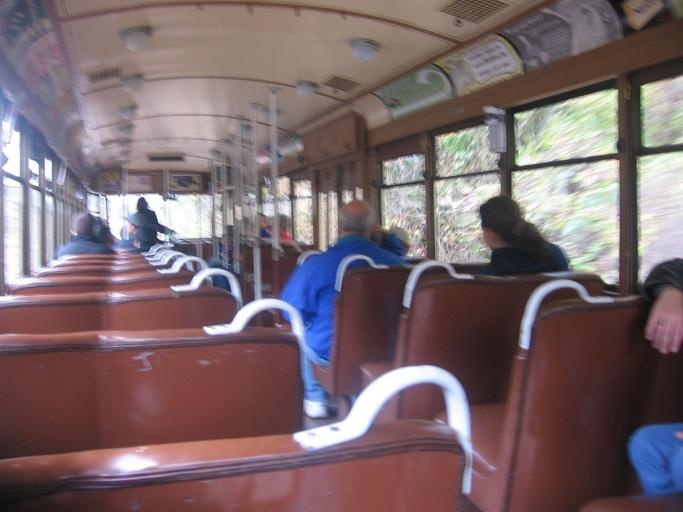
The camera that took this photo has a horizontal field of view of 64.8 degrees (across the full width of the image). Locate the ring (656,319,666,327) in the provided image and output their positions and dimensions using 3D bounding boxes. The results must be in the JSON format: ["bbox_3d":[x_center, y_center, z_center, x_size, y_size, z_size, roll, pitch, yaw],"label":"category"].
[{"bbox_3d":[0.742,0.157,1.254,0.014,0.014,0.014,2,-1,0],"label":"ring"}]
